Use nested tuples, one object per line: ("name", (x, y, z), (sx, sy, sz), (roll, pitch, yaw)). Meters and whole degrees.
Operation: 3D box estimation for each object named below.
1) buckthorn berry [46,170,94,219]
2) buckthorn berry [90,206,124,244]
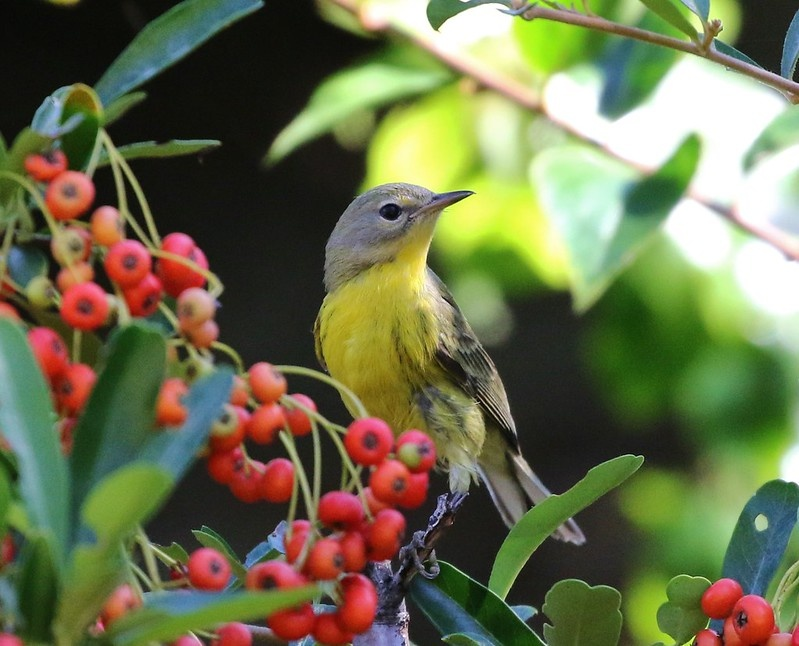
("buckthorn berry", (-0.480, -0.181, 1.443), (0.056, 0.073, 0.033), (19, -5, 12))
("buckthorn berry", (-0.430, -0.139, 1.446), (0.049, 0.069, 0.053), (-1, 8, 2))
